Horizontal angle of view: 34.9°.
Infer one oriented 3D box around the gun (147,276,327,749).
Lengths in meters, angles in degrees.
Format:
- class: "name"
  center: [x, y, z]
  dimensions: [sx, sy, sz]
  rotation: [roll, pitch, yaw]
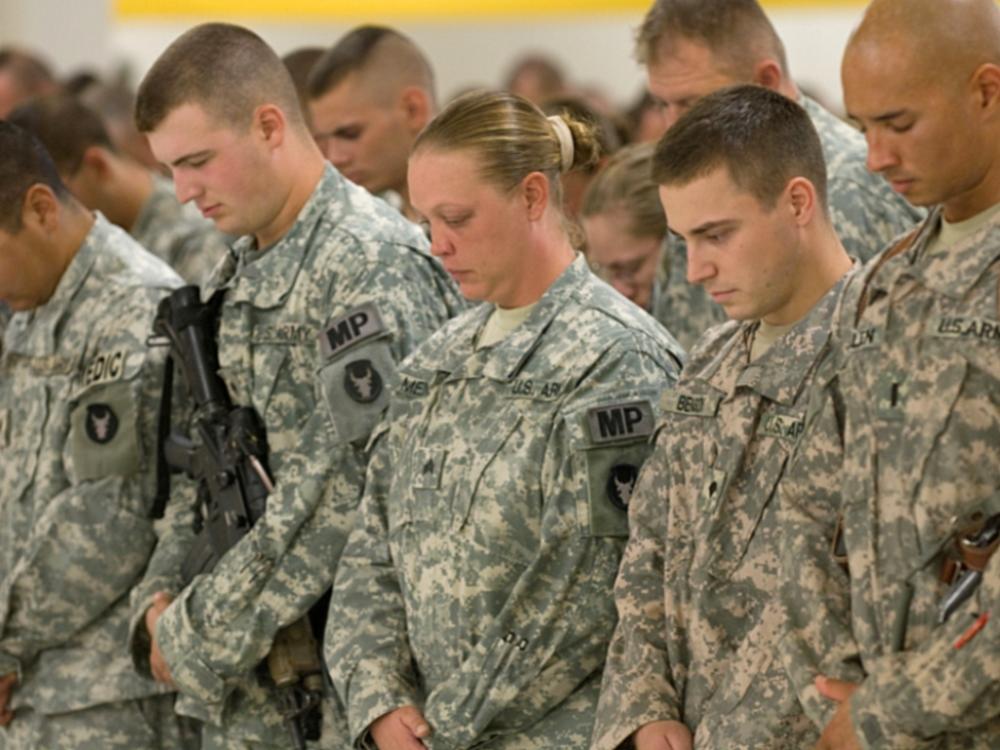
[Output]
- class: "gun"
  center: [-0.843, 0.473, 5.305]
  dimensions: [0.246, 1.692, 0.702]
  rotation: [18, -44, -39]
